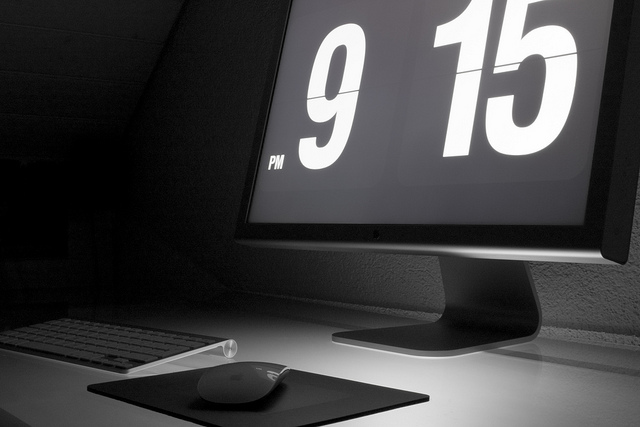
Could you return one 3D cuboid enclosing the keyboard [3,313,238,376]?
[{"bbox_3d":[-0.350,0.216,0.732,0.440,0.051,0.213,2,-11,15],"label":"keyboard"}]
